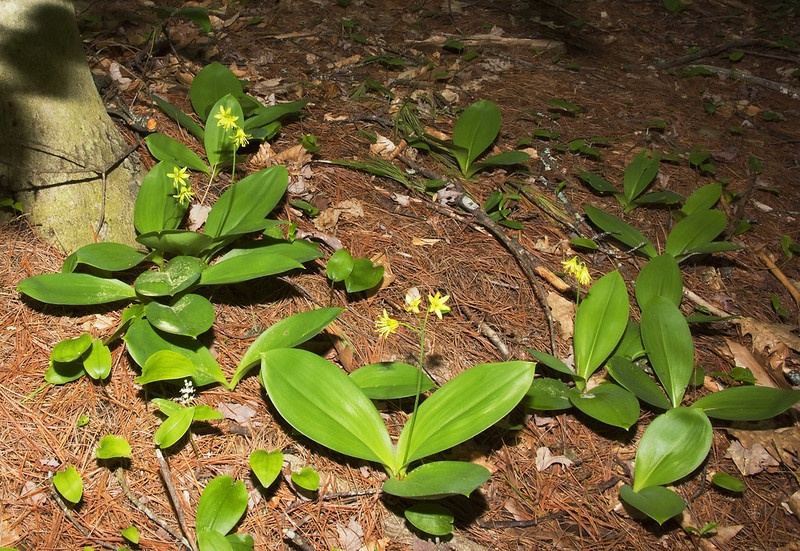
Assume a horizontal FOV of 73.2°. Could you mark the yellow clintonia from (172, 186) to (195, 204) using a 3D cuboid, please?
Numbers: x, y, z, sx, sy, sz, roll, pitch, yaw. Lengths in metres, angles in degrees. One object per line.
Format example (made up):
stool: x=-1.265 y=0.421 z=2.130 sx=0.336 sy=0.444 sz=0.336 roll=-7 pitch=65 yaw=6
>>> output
yellow clintonia: x=-1.582 y=-0.596 z=3.978 sx=0.069 sy=0.171 sz=0.156 roll=31 pitch=37 yaw=-52

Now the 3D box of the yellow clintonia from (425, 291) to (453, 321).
yellow clintonia: x=0.220 y=0.175 z=3.441 sx=0.241 sy=0.071 sz=0.195 roll=3 pitch=67 yaw=-20
